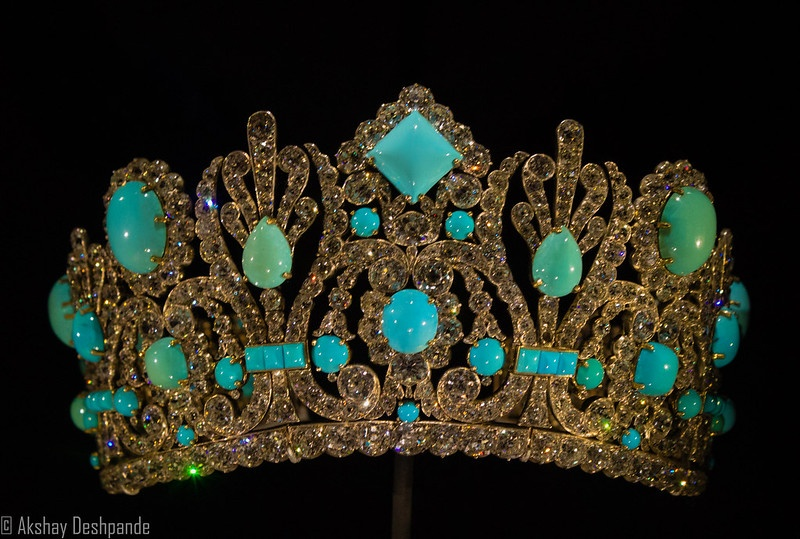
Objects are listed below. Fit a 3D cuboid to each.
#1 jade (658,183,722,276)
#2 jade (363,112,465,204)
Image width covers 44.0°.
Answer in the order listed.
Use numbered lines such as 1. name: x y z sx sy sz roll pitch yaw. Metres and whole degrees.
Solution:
1. jade: 1.069 -0.133 3.631 0.116 0.445 0.343 -2 93 45
2. jade: 0.054 -0.401 3.502 0.253 0.098 0.238 -41 74 -6
